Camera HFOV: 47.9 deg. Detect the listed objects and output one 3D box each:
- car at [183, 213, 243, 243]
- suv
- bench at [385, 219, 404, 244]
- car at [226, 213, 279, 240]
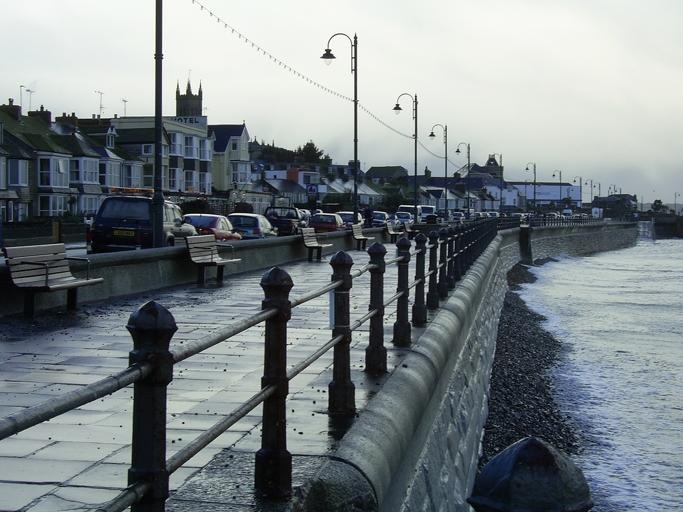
[{"bbox_3d":[-4.259,-0.912,25.015,0.941,0.652,2.035,2,5,21],"label":"car"},{"bbox_3d":[-5.257,-0.916,21.036,1.901,1.688,3.299,0,6,21],"label":"suv"},{"bbox_3d":[2.449,-1.154,36.307,0.623,0.985,1.656,2,6,15],"label":"bench"},{"bbox_3d":[-3.341,-1.125,29.134,0.955,0.730,1.586,1,7,13],"label":"car"}]
